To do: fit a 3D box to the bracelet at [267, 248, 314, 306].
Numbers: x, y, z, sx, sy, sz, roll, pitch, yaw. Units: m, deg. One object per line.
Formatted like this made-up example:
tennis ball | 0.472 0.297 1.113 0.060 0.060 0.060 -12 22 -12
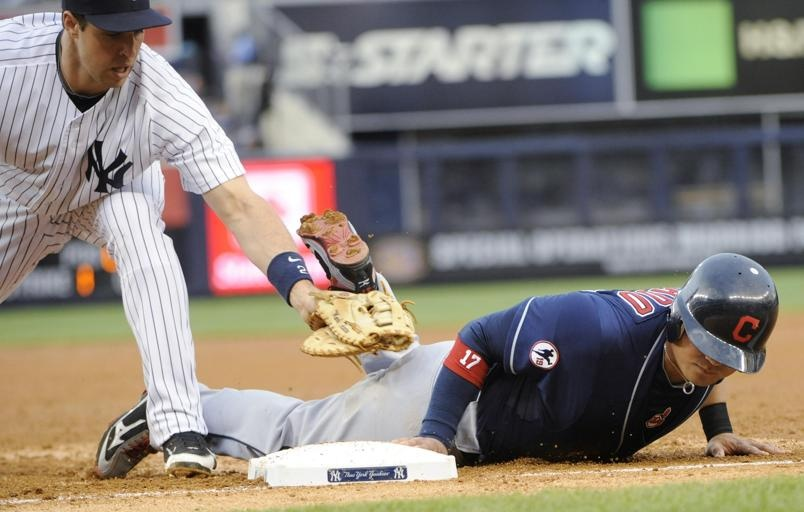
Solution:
bracelet | -0.792 0.171 11.251 0.332 0.348 0.369 -44 -21 15
